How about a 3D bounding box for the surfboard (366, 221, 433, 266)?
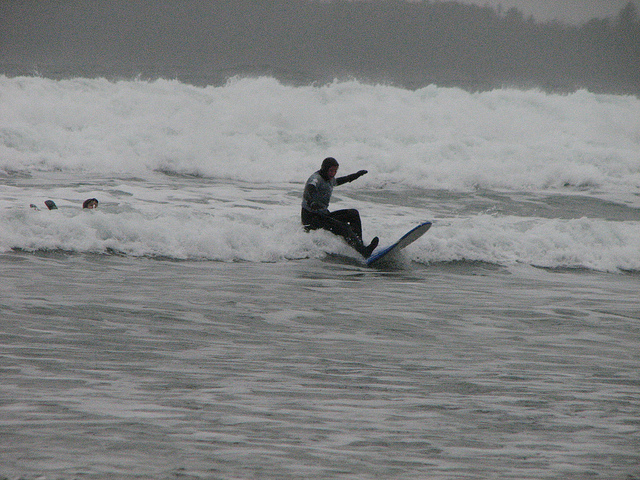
[{"bbox_3d":[1.848,0.076,31.244,1.410,1.081,0.387,2,15,-34],"label":"surfboard"}]
